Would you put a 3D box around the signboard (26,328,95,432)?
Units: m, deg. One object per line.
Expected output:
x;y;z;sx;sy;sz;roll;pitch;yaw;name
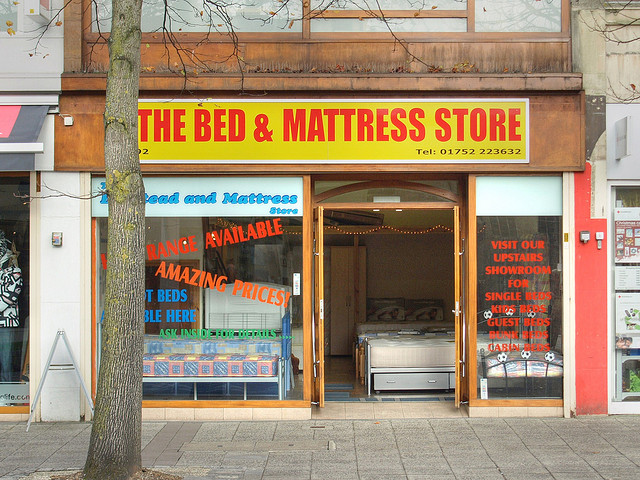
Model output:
-3.612;1.892;11.994;0.891;1.246;0.681;-4;14;-13;signboard

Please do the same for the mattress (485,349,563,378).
2.953;1.757;12.747;1.192;0.231;1.084;-3;9;-4;mattress

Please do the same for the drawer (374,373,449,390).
1.407;2.141;13.309;1.130;0.244;0.110;0;14;-1;drawer

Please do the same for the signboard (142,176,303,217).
-1.356;-0.642;11.891;2.547;0.527;0.436;2;-4;-1;signboard

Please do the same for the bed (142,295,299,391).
-1.539;1.642;11.999;2.302;1.275;2.073;0;0;-6;bed

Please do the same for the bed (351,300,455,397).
1.351;1.831;14.525;1.408;0.894;2.148;-1;-2;2;bed

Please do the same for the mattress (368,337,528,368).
1.489;1.735;13.218;1.122;0.217;1.012;0;0;3;mattress
